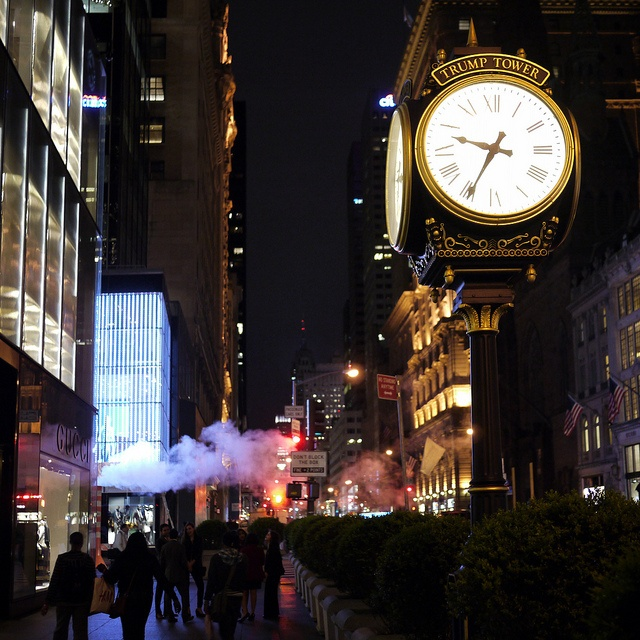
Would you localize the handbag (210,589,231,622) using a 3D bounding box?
[{"bbox_3d":[-1.502,4.199,14.755,0.328,0.461,0.237,0,-8,-23],"label":"handbag"}]

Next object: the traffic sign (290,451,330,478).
[{"bbox_3d":[-0.340,4.145,29.040,0.953,0.869,0.154,2,-9,-7],"label":"traffic sign"}]

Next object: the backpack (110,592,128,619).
[{"bbox_3d":[-2.838,4.001,14.111,0.090,0.317,0.355,26,-46,-17],"label":"backpack"}]

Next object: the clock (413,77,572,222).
[{"bbox_3d":[1.579,-1.569,9.404,1.031,1.347,0.123,1,-4,-3],"label":"clock"}]

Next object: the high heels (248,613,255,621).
[{"bbox_3d":[-1.489,6.383,21.627,0.129,0.242,0.118,2,-3,4],"label":"high heels"}]

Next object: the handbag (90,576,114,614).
[{"bbox_3d":[-3.051,3.820,13.971,0.289,0.533,0.124,28,-43,-34],"label":"handbag"}]
